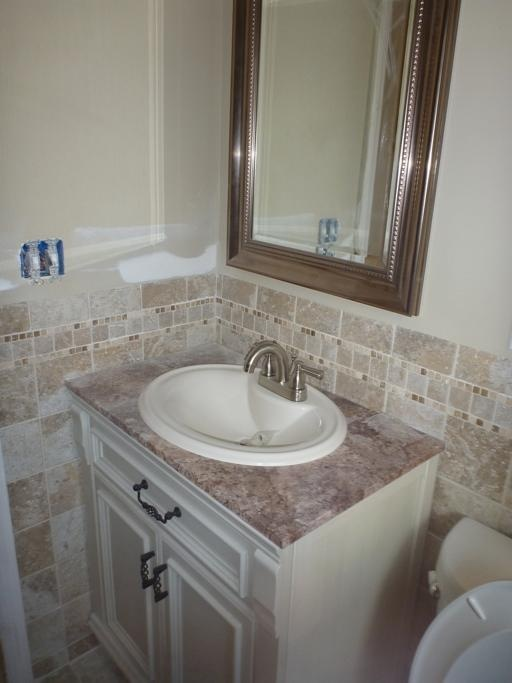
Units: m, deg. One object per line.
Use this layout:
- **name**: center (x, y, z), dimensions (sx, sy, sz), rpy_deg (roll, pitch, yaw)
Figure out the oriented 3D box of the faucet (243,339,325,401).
- **faucet**: center (0.058, 0.078, 1.311), dimensions (0.138, 0.138, 0.209), rpy_deg (-11, 21, -36)
